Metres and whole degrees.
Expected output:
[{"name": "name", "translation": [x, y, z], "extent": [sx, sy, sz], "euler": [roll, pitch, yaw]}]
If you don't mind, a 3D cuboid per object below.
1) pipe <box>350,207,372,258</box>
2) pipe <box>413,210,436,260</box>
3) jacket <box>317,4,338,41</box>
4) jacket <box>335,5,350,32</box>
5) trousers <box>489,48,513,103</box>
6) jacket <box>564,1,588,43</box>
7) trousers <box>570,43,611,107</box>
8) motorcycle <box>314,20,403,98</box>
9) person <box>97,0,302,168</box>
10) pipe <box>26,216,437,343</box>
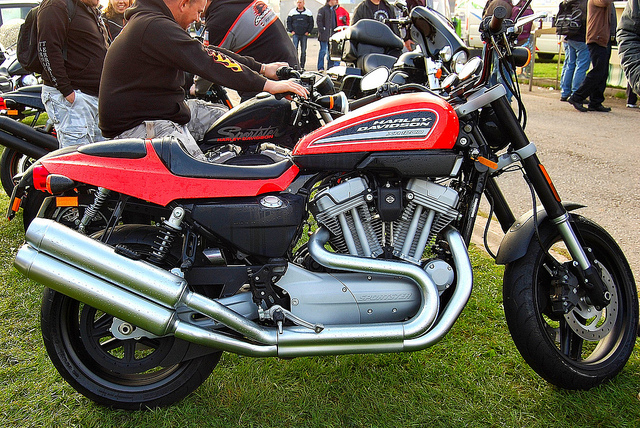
[{"name": "pipe", "translation": [0.262, 0.116, 3.110], "extent": [0.039, 0.327, 0.037], "euler": [-20, 2, -8]}, {"name": "pipe", "translation": [0.673, 0.134, 3.124], "extent": [0.074, 0.418, 0.070], "euler": [19, -4, 2]}, {"name": "jacket", "translation": [0.188, -5.467, 13.875], "extent": [0.416, 0.977, 0.711], "euler": [-6, 22, -22]}, {"name": "jacket", "translation": [0.610, -5.641, 13.782], "extent": [0.394, 0.551, 0.673], "euler": [2, 21, 0]}, {"name": "trousers", "translation": [1.187, -0.915, 3.188], "extent": [0.109, 0.338, 0.187], "euler": [-16, 34, 29]}, {"name": "jacket", "translation": [5.474, -4.075, 10.279], "extent": [0.437, 0.816, 0.382], "euler": [15, 24, 31]}, {"name": "trousers", "translation": [5.591, -2.833, 9.960], "extent": [0.587, 1.268, 0.756], "euler": [13, 23, 27]}, {"name": "motorcycle", "translation": [0.678, -2.489, 7.671], "extent": [1.300, 1.128, 1.950], "euler": [5, 20, 9]}, {"name": "person", "translation": [-1.015, -1.101, 4.191], "extent": [1.361, 2.055, 0.952], "euler": [-10, 56, -9]}, {"name": "pipe", "translation": [-0.595, 0.474, 2.974], "extent": [1.941, 0.274, 1.051], "euler": [11, 35, -10]}]
